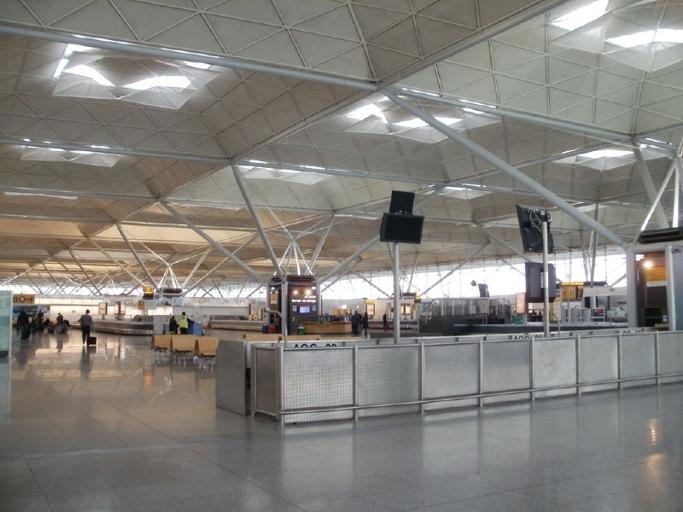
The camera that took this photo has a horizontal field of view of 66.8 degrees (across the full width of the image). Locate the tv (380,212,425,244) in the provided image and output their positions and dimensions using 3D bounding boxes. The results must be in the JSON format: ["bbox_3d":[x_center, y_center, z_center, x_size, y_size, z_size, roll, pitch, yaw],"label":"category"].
[{"bbox_3d":[1.544,-0.745,13.642,1.197,0.840,0.509,1,-7,-18],"label":"tv"}]

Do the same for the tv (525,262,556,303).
[{"bbox_3d":[5.808,0.760,15.420,0.785,1.188,1.584,-5,-7,30],"label":"tv"}]

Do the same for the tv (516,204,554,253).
[{"bbox_3d":[5.442,-0.770,14.736,0.720,1.290,0.996,-4,-7,26],"label":"tv"}]
